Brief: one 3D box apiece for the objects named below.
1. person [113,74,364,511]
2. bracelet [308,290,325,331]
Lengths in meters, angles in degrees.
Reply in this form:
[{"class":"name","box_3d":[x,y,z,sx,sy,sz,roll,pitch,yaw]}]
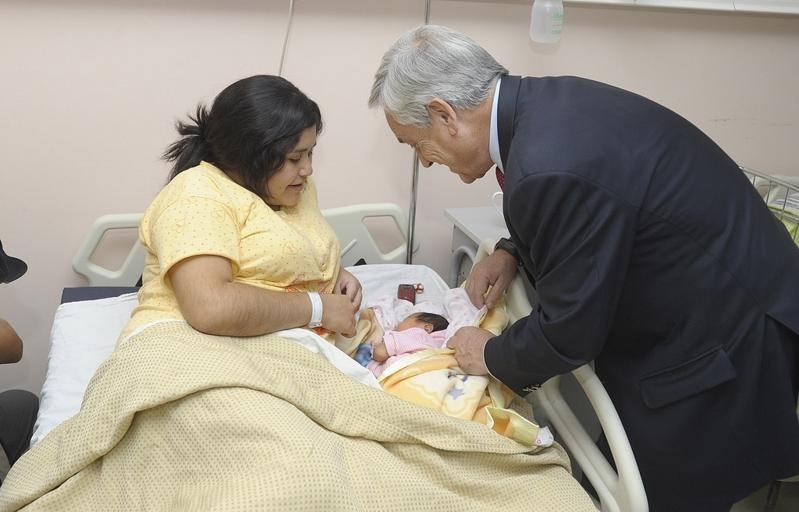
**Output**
[{"class":"person","box_3d":[-0.606,-0.156,2.333,0.879,0.956,0.785,0,29,-6]},{"class":"bracelet","box_3d":[-0.330,0.215,2.321,0.054,0.117,0.074,-2,29,-9]}]
